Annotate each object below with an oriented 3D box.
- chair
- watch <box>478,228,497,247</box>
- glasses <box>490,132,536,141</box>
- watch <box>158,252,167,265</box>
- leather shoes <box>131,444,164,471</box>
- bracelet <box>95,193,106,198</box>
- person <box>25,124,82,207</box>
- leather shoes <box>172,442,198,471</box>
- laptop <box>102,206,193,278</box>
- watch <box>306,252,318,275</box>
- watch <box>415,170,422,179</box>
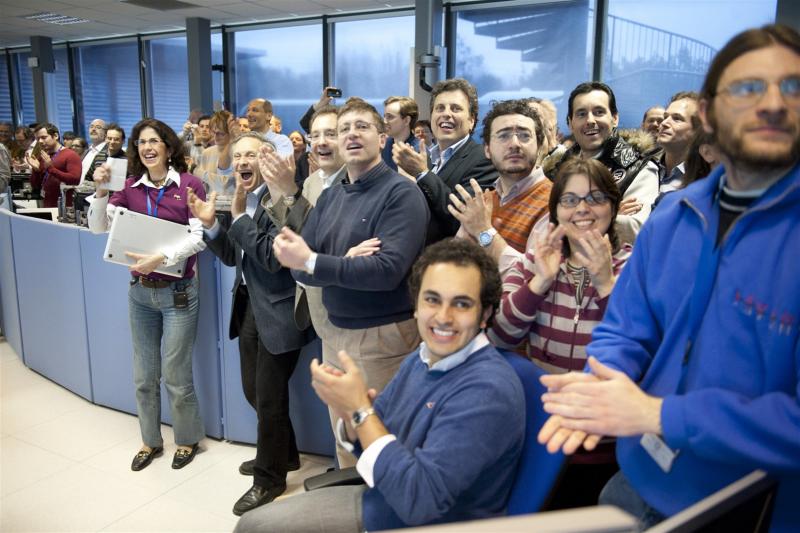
[{"bbox_3d":[0.218,0.527,1.932,0.399,0.497,0.336,3,0,-28],"label":"chair"},{"bbox_3d":[0.371,-0.124,2.565,0.062,0.096,0.090,42,-1,10],"label":"watch"},{"bbox_3d":[0.510,-0.578,2.640,0.149,0.042,0.039,0,15,5],"label":"glasses"},{"bbox_3d":[-1.324,-0.049,3.277,0.047,0.047,0.048,1,12,-5],"label":"watch"},{"bbox_3d":[-1.489,1.095,3.449,0.093,0.074,0.210,3,15,16],"label":"leather shoes"},{"bbox_3d":[-1.819,-0.430,3.555,0.036,0.028,0.036,1,3,-35],"label":"bracelet"},{"bbox_3d":[-3.945,-1.145,6.706,0.526,0.822,1.492,-10,17,-30],"label":"person"},{"bbox_3d":[-1.270,1.101,3.419,0.066,0.054,0.177,2,3,1],"label":"leather shoes"},{"bbox_3d":[-1.418,-0.173,3.284,0.435,0.309,0.149,-2,14,-1],"label":"laptop"},{"bbox_3d":[-0.372,-0.014,2.451,0.024,0.076,0.055,10,-8,-10],"label":"watch"},{"bbox_3d":[0.092,-0.439,2.831,0.040,0.042,0.040,5,-29,2],"label":"watch"}]
